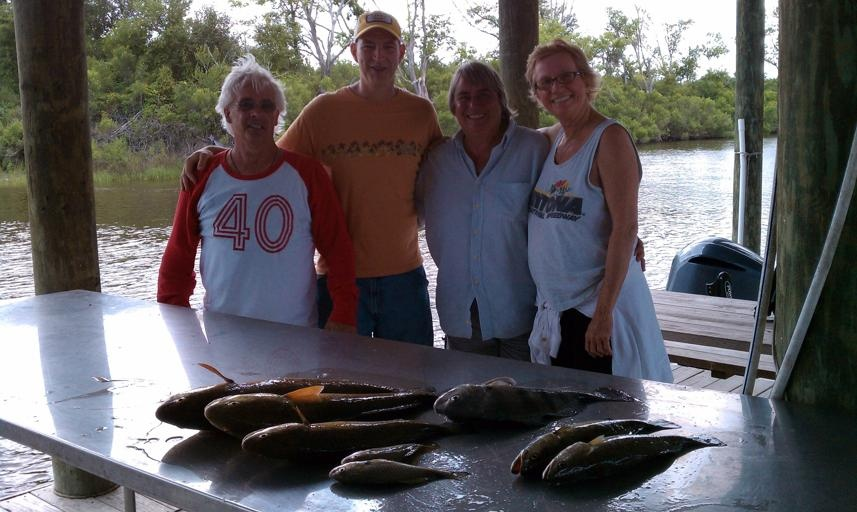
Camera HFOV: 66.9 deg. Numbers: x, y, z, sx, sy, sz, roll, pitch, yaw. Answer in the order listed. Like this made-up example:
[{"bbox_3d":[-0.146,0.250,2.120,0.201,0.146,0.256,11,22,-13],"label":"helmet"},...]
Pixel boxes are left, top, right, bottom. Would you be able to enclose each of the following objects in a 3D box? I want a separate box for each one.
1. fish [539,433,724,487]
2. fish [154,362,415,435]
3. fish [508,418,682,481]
[{"bbox_3d":[0.608,0.591,1.922,0.589,0.101,0.057,-3,9,-15],"label":"fish"},{"bbox_3d":[-0.441,0.406,2.261,0.911,0.258,0.253,-3,2,-25],"label":"fish"},{"bbox_3d":[0.520,0.541,2.047,0.596,0.157,0.176,-7,3,-24],"label":"fish"}]
